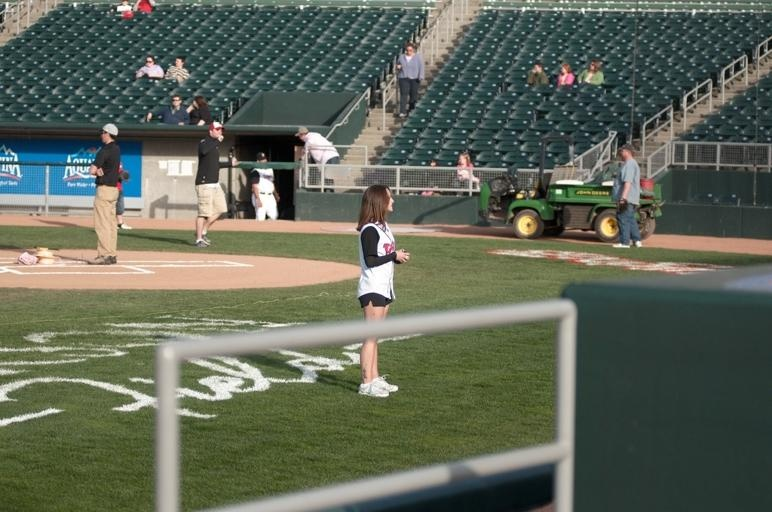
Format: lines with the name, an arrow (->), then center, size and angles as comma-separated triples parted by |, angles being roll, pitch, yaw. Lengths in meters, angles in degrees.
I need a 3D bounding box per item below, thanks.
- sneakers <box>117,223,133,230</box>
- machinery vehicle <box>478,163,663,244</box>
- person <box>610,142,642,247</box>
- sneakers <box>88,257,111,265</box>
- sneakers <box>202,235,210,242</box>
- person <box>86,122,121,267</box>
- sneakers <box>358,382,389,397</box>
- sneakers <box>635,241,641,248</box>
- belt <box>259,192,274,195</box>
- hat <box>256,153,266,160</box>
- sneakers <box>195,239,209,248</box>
sneakers -> -5.619, -0.651, 23.309 | 0.431, 0.155, 0.153 | 2, 5, 5
machinery vehicle -> 3.483, -1.023, 21.184 | 2.970, 1.306, 1.668 | 2, 4, 18
person -> 4.305, -0.994, 19.232 | 0.466, 1.703, 0.836 | 1, 3, 12
sneakers -> -4.210, 0.070, 15.893 | 0.318, 0.123, 0.130 | 3, 5, 10
sneakers -> -3.189, -0.312, 19.226 | 0.073, 0.089, 0.220 | -20, 29, -39
person -> -4.111, -0.917, 15.859 | 0.406, 2.094, 1.203 | -1, 3, -14
sneakers -> -0.094, 1.065, 8.580 | 0.251, 0.097, 0.101 | -1, 4, -1
sneakers -> 4.565, -0.214, 19.513 | 0.124, 0.112, 0.091 | -3, 5, 37
belt -> -2.887, -1.543, 26.423 | 0.117, 0.074, 0.401 | 3, 4, 36
hat -> -3.035, -2.411, 26.192 | 0.286, 0.150, 0.366 | -1, 6, -3
sneakers -> -3.150, -0.214, 18.580 | 0.274, 0.114, 0.105 | -2, 10, -11
